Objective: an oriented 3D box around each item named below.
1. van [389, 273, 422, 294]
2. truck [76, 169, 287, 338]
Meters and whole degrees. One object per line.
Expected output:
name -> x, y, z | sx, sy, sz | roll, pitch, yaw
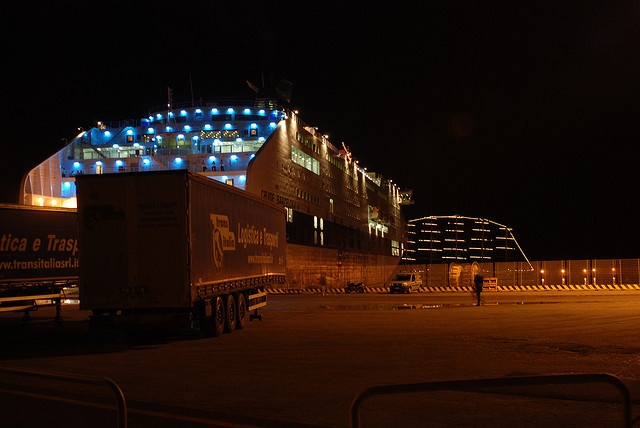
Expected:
van -> 7.120, 5.737, 53.239 | 1.308, 1.185, 2.548 | -4, -10, 23
truck -> -4.054, 1.810, 25.247 | 4.207, 5.752, 12.366 | -4, -11, 27
